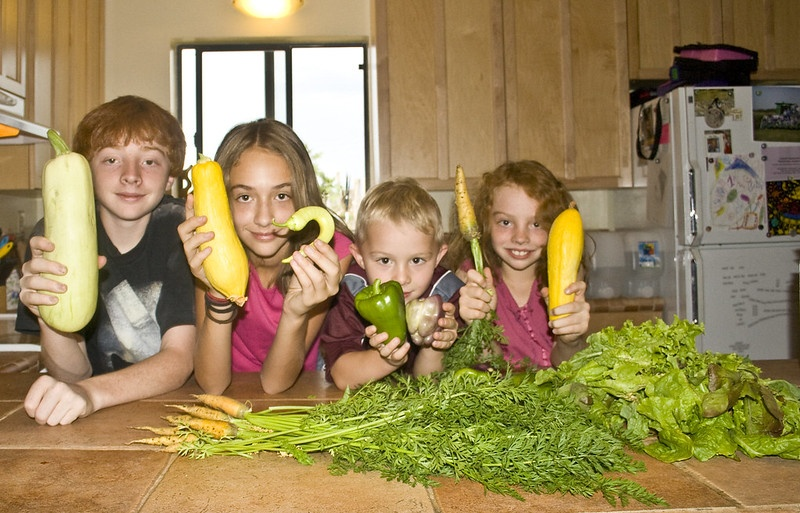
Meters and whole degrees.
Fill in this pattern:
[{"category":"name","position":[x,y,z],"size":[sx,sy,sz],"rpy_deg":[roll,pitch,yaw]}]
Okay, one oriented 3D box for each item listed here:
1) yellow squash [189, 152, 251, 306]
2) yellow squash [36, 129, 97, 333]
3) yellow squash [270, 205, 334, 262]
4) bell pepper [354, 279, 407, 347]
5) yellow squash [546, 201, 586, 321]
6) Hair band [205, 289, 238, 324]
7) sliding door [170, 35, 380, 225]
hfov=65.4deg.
[{"category":"yellow squash","position":[-0.673,-0.104,2.321],"size":[0.155,0.566,0.151],"rpy_deg":[-19,-7,40]},{"category":"yellow squash","position":[-1.137,-0.075,2.190],"size":[0.189,0.712,0.194],"rpy_deg":[4,3,-19]},{"category":"yellow squash","position":[-0.342,-0.120,2.287],"size":[0.179,0.132,0.183],"rpy_deg":[-2,6,-4]},{"category":"bell pepper","position":[-0.065,0.225,2.449],"size":[0.183,0.273,0.194],"rpy_deg":[-9,22,28]},{"category":"yellow squash","position":[0.637,0.013,2.393],"size":[0.122,0.457,0.125],"rpy_deg":[1,0,8]},{"category":"Hair band","position":[-0.701,0.196,2.448],"size":[0.118,0.074,0.130],"rpy_deg":[1,2,-35]},{"category":"sliding door","position":[-0.992,-1.104,4.714],"size":[1.617,2.033,0.209],"rpy_deg":[2,-1,-8]}]
